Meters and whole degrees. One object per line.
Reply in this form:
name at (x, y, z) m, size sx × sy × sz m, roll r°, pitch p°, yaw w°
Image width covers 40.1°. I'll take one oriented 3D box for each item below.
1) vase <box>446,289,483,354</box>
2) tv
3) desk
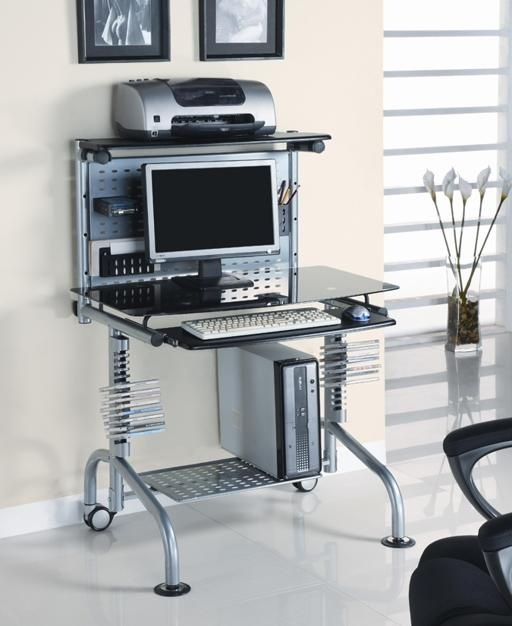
vase at (1.441, 0.050, 4.882) m, size 0.231 × 0.459 × 0.256 m, roll 0°, pitch 6°, yaw 16°
tv at (-0.156, -0.317, 2.474) m, size 0.553 × 0.426 × 0.243 m, roll -10°, pitch 16°, yaw -36°
desk at (-0.029, 0.342, 2.396) m, size 1.000 × 0.765 × 0.707 m, roll -2°, pitch 2°, yaw -35°
